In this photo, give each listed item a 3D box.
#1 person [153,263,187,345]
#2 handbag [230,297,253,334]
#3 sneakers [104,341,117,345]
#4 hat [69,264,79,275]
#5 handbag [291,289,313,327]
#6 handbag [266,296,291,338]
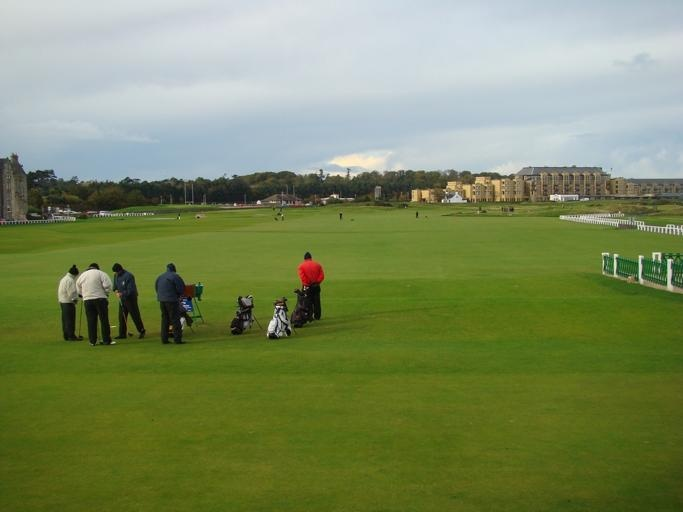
[{"bbox_3d":[-5.047,1.401,21.519,0.759,2.397,0.884,-3,12,-15],"label":"person"},{"bbox_3d":[-3.202,1.829,23.256,0.744,1.180,1.331,-2,12,-9],"label":"handbag"},{"bbox_3d":[-6.862,2.517,21.496,0.339,0.113,0.146,0,0,40],"label":"sneakers"},{"bbox_3d":[-9.781,0.489,26.579,0.301,0.359,0.386,10,7,-9],"label":"hat"},{"bbox_3d":[-1.312,1.719,23.855,0.404,1.117,0.801,-1,4,-3],"label":"handbag"},{"bbox_3d":[-1.944,1.763,22.784,0.738,1.263,1.770,-1,12,-4],"label":"handbag"}]
